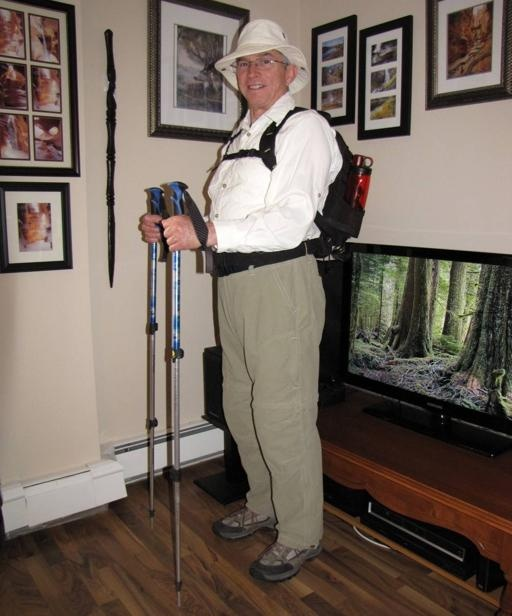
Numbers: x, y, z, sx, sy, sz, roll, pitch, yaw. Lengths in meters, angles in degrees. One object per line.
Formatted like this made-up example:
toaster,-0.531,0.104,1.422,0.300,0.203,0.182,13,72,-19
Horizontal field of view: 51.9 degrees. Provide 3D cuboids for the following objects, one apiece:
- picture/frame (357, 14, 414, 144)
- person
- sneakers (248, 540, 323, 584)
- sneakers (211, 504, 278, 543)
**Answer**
picture/frame,0.525,-0.938,2.163,0.019,0.449,0.274,-8,13,-33
person,-0.023,-0.036,1.794,0.659,1.835,0.547,-4,11,-17
sneakers,0.099,0.835,1.753,0.213,0.099,0.088,2,-7,-35
sneakers,-0.053,0.811,1.977,0.213,0.096,0.094,3,-2,-20
